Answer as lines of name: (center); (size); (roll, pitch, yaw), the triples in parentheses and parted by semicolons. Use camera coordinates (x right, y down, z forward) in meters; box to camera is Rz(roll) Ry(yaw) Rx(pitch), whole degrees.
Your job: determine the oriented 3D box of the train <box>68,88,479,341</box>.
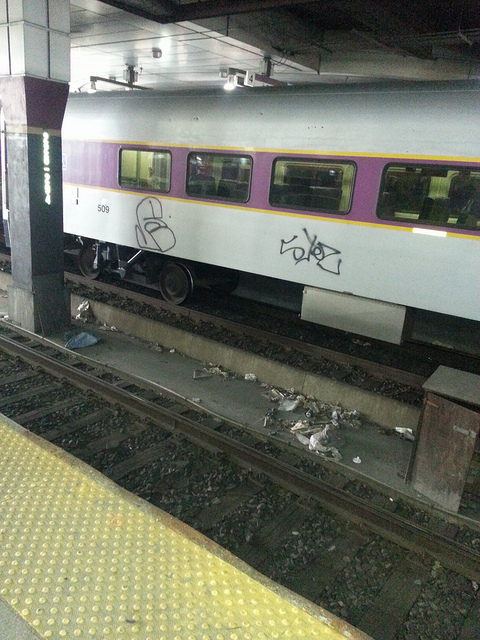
train: (0.283, -2.175, 8.031); (7.684, 2.857, 1.018); (13, 7, 30)
